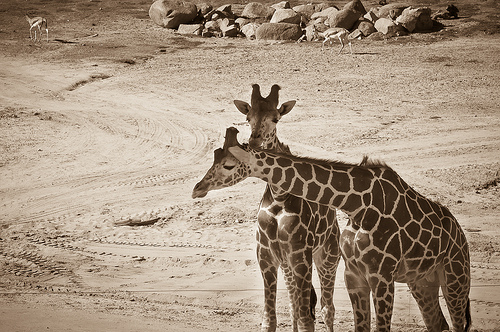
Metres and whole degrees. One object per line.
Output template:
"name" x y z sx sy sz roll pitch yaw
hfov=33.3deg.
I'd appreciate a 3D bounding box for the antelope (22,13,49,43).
"antelope" -7.279 -4.713 28.528 1.259 0.879 0.327 1 5 38
